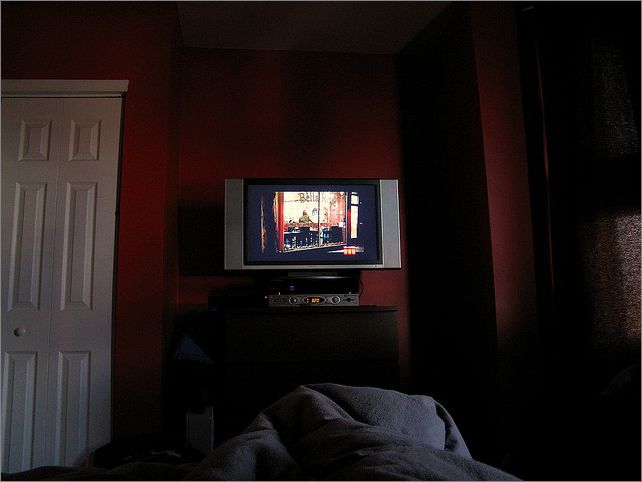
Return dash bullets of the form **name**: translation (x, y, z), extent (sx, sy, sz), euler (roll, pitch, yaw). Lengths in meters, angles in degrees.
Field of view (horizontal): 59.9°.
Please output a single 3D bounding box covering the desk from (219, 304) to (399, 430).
- **desk**: translation (-0.065, 0.682, 3.696), extent (1.063, 0.932, 0.785), euler (0, 20, 0)
